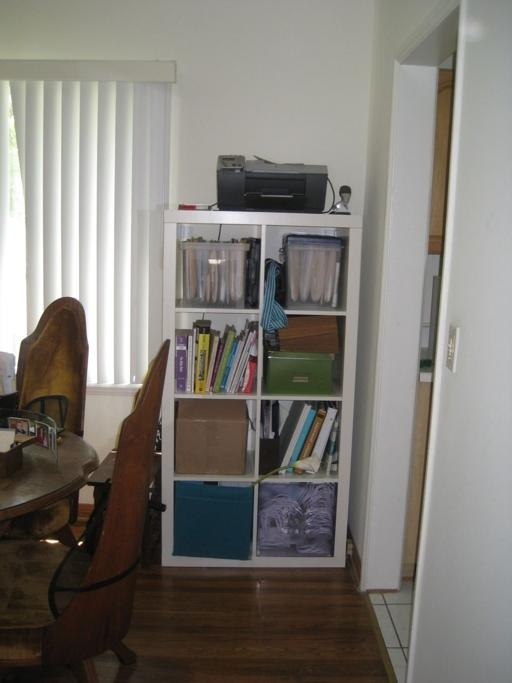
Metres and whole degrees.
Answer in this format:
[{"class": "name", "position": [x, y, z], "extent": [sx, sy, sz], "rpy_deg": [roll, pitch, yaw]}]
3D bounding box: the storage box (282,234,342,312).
[{"class": "storage box", "position": [0.202, -0.300, 2.349], "extent": [0.217, 0.354, 0.264], "rpy_deg": [1, 23, 1]}]

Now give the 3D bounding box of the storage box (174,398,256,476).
[{"class": "storage box", "position": [-0.190, 0.414, 2.427], "extent": [0.237, 0.252, 0.284], "rpy_deg": [1, 7, 1]}]

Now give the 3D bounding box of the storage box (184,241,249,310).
[{"class": "storage box", "position": [-0.165, -0.268, 2.247], "extent": [0.211, 0.280, 0.248], "rpy_deg": [1, 6, 1]}]

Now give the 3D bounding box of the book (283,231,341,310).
[{"class": "book", "position": [0.198, -0.304, 2.363], "extent": [0.216, 0.351, 0.261], "rpy_deg": [1, 22, 1]}]

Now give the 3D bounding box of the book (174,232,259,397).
[{"class": "book", "position": [-0.152, -0.225, 2.656], "extent": [0.433, 1.068, 0.508], "rpy_deg": [0, 17, -1]}]

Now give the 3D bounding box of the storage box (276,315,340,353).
[{"class": "storage box", "position": [0.210, -0.029, 2.329], "extent": [0.244, 0.147, 0.046], "rpy_deg": [1, 7, -7]}]

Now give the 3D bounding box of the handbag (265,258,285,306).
[{"class": "handbag", "position": [0.078, -0.239, 2.293], "extent": [0.040, 0.175, 0.103], "rpy_deg": [6, 7, 26]}]
